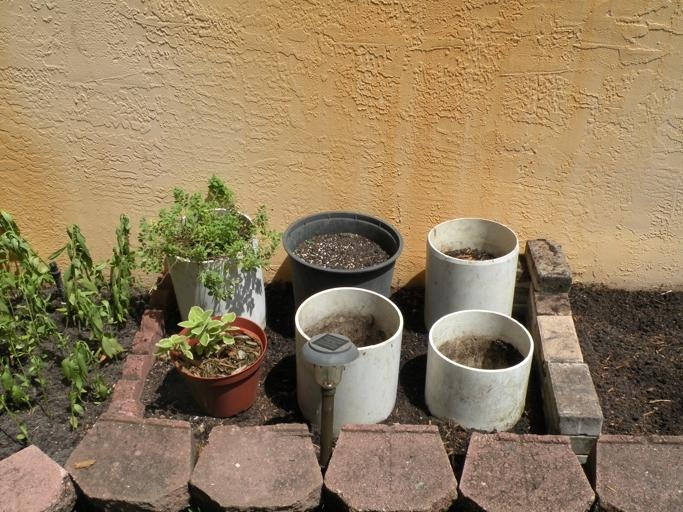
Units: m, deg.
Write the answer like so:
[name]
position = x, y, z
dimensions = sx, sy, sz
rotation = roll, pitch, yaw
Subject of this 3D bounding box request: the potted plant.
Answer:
[potted plant]
position = -0.905, 0.135, 3.982
dimensions = 0.892, 1.163, 1.776
rotation = -3, 44, -9
